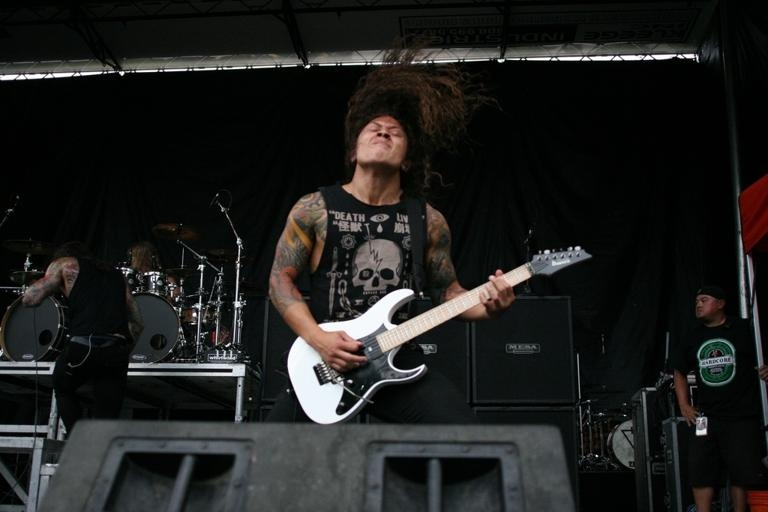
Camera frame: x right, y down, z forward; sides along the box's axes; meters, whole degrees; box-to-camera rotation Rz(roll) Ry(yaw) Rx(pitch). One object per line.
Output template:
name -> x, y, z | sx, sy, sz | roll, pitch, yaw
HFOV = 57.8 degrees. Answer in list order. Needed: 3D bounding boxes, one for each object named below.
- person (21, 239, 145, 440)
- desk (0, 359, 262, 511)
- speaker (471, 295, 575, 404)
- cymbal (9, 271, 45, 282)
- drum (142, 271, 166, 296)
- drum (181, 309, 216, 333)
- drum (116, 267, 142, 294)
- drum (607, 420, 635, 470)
person -> -3.033, 0.740, 6.929 | 1.062, 1.891, 0.354 | 6, -21, 0
desk -> -2.419, 1.656, 7.835 | 3.104, 1.460, 1.632 | -2, -53, 3
speaker -> 1.365, 1.121, 7.595 | 1.419, 1.316, 1.011 | -2, -21, 3
cymbal -> -4.350, 0.222, 8.466 | 0.266, 0.069, 0.258 | 7, -29, -27
drum -> -2.813, 0.349, 8.582 | 0.330, 0.298, 0.317 | 0, -6, -3
drum -> -2.306, 0.793, 8.627 | 0.312, 0.182, 0.307 | -7, -11, -1
drum -> -2.879, 0.291, 7.822 | 0.242, 0.219, 0.239 | 12, -12, 0
drum -> 3.162, 2.531, 9.353 | 0.326, 0.622, 0.426 | 1, -21, 15
